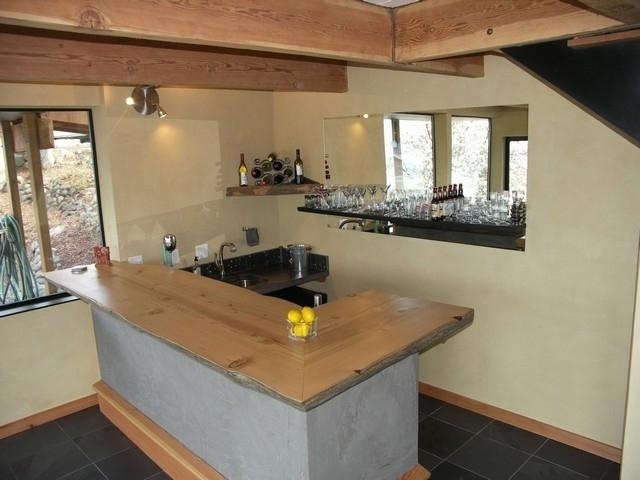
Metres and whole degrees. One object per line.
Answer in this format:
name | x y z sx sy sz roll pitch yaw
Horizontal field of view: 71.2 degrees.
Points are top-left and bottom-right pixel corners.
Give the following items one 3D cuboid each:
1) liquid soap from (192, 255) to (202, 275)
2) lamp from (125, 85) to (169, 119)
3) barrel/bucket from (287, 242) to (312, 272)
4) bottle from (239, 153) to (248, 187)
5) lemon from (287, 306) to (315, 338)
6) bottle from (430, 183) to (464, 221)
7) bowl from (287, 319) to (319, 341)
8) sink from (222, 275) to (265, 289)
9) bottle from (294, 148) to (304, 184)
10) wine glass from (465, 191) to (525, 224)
liquid soap | -1.334 0.279 4.815 0.091 0.200 0.167 -5 11 -9
lamp | -1.675 -1.339 4.297 0.362 0.297 0.343 -6 11 -18
barrel/bucket | -0.208 0.164 5.217 0.353 0.287 0.269 5 14 29
bottle | -0.874 -0.802 5.045 0.112 0.377 0.265 -5 11 -9
lemon | -0.119 0.499 2.745 0.176 0.166 0.174 0 -2 -4
bottle | 1.132 -0.351 4.048 0.302 0.307 0.146 -7 12 -21
bowl | -0.108 0.539 2.710 0.178 0.102 0.121 -3 10 -4
sink | -0.818 0.457 4.939 0.498 0.107 0.204 1 11 19
bottle | -0.252 -0.860 5.154 0.121 0.388 0.120 -3 11 1
wine glass | 1.460 -0.284 3.815 0.112 0.270 0.557 -12 14 -41
